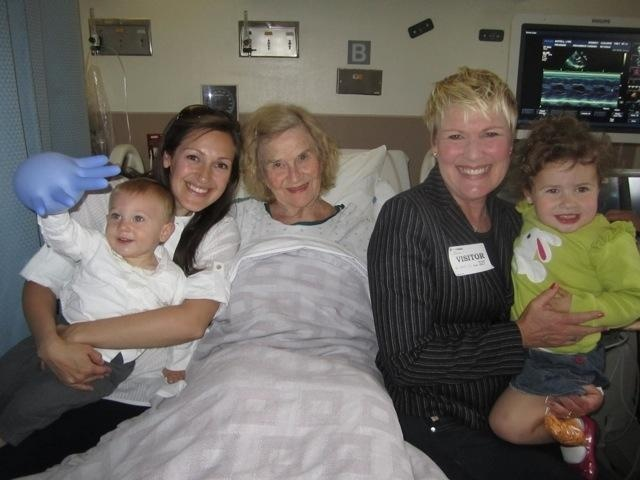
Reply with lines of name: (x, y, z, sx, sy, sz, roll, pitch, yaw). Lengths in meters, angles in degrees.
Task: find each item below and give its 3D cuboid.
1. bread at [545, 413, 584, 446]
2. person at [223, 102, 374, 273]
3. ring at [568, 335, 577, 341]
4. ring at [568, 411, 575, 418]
bread: (0.953, 0.744, 1.990, 0.150, 0.116, 0.057, 31, -17, -2)
person: (-0.108, -0.270, 2.461, 0.736, 0.815, 0.320, -6, 7, -10)
ring: (0.994, 0.390, 1.975, 0.024, 0.018, 0.008, 0, 20, -18)
ring: (1.003, 0.694, 1.995, 0.023, 0.031, 0.009, -19, 9, 14)
